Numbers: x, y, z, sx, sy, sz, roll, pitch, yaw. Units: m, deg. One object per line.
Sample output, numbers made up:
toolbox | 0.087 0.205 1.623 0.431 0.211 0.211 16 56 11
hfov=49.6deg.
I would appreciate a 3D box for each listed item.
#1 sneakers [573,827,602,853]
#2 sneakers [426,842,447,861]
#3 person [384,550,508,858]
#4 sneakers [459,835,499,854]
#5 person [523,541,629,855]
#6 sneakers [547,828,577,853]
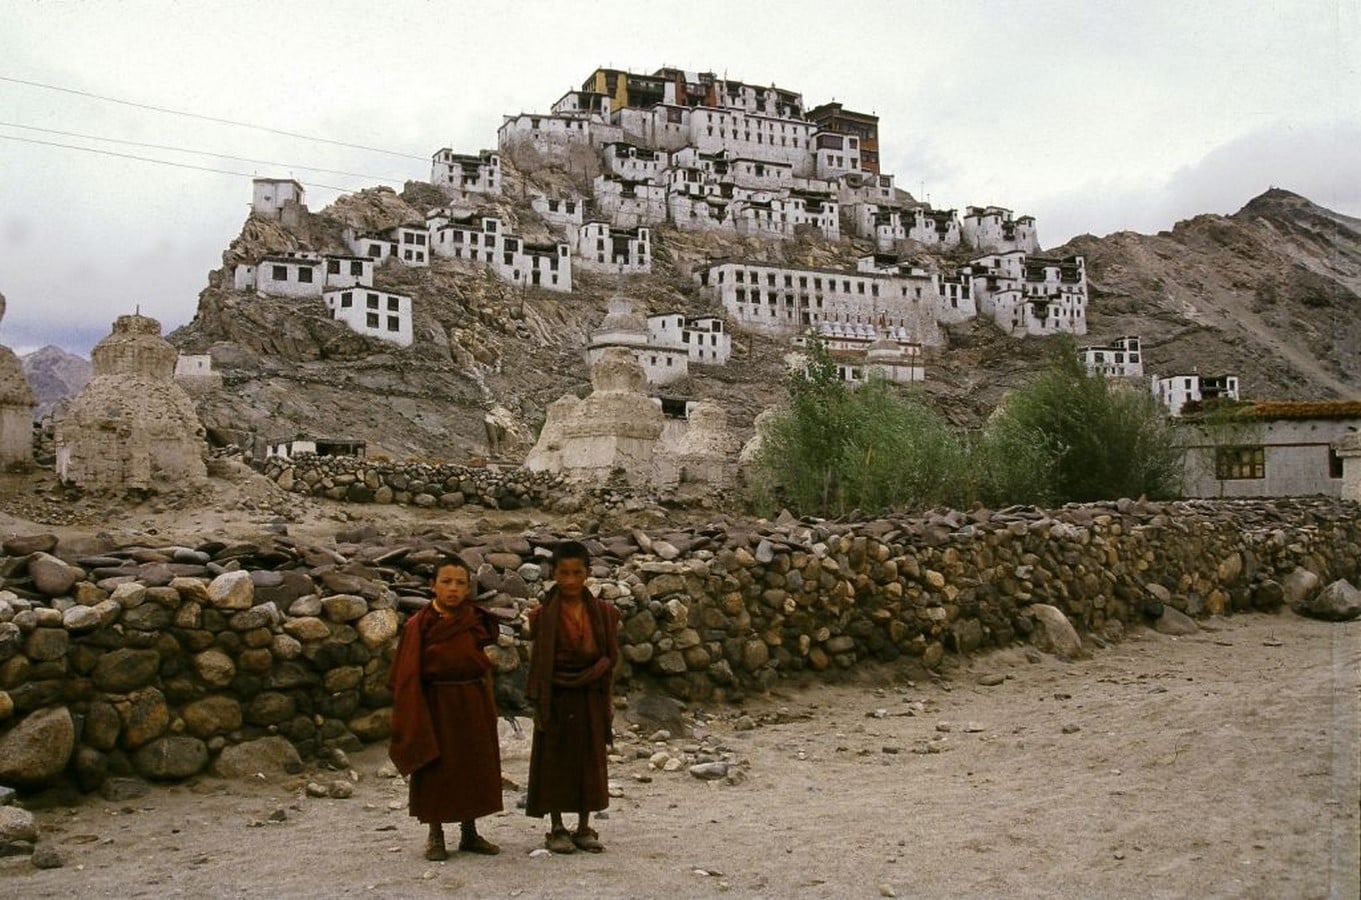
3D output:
sneakers | -0.774 3.235 12.295 0.253 0.172 0.137 -1 13 -4
sneakers | -1.987 3.256 12.046 0.193 0.135 0.118 -2 13 -10
person | -1.950 1.973 12.147 0.861 2.012 0.742 -2 14 -8
sneakers | -1.675 3.273 12.293 0.351 0.203 0.125 -1 -1 1
person | -0.913 2.052 12.359 0.720 2.464 0.887 1 14 3
sneakers | -0.996 3.225 12.286 0.251 0.174 0.204 -1 13 -6
